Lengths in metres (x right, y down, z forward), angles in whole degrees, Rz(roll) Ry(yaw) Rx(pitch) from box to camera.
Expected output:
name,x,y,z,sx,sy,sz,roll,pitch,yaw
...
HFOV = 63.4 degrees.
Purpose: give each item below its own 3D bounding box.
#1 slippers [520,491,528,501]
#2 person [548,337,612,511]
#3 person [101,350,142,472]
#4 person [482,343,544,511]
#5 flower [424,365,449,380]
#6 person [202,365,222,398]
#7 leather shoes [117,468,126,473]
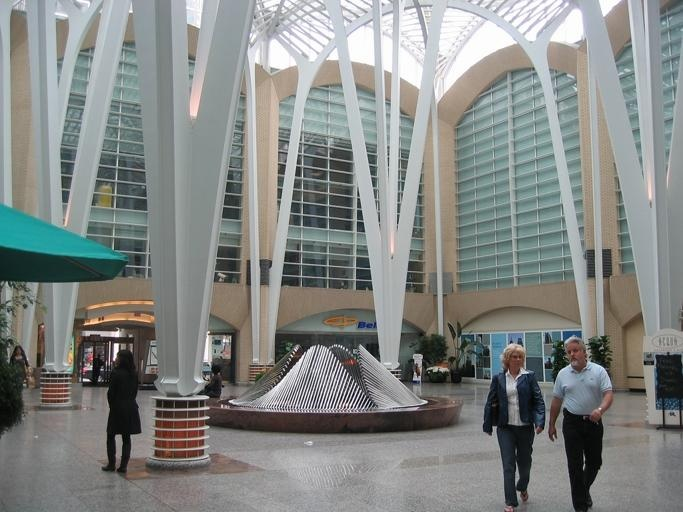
name,x,y,z,sx,sy,sz,roll,pitch,yaw
slippers,2.690,3.530,8.116,0.105,0.085,0.232,-3,-35,8
person,3.314,2.313,7.651,0.836,2.397,1.003,-5,-11,24
person,-3.935,2.781,10.052,0.596,2.160,0.927,4,-11,-23
person,2.452,2.369,7.796,0.789,2.228,0.602,-4,-11,20
flower,7.108,8.464,39.818,1.163,0.726,1.084,6,-7,-38
person,-4.719,4.662,20.535,0.652,1.162,0.692,4,-8,10
leather shoes,-3.839,3.780,9.749,0.156,0.078,0.232,4,-13,-23
